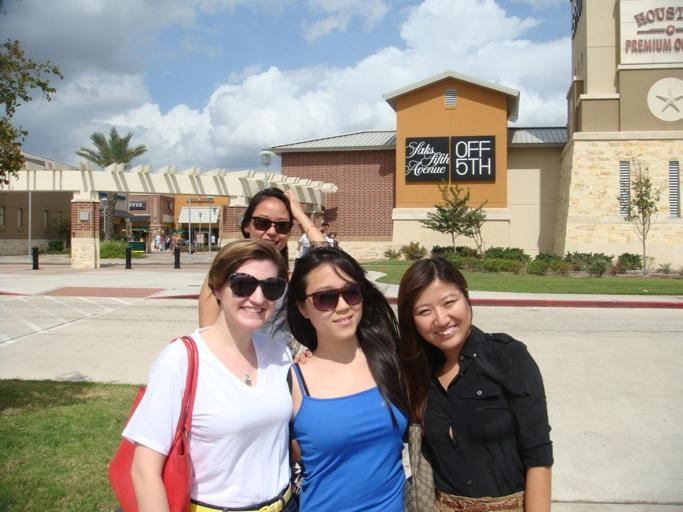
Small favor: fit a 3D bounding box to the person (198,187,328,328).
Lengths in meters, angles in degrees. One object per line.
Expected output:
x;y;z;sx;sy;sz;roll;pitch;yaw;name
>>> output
-0.670;0.139;5.446;1.067;1.512;0.879;0;16;-14;person
